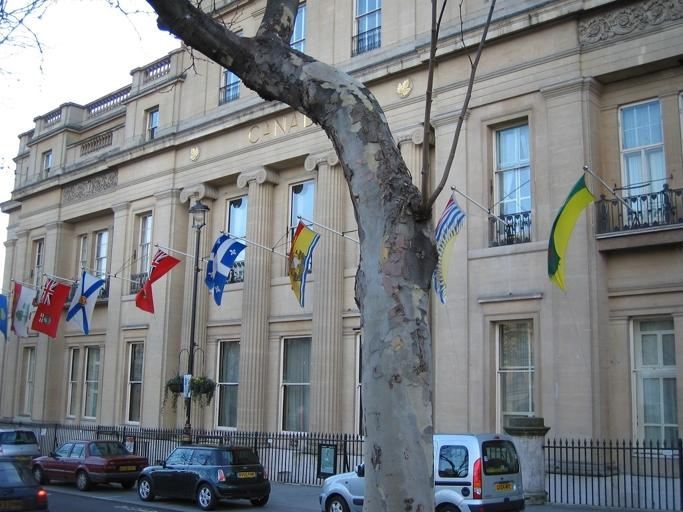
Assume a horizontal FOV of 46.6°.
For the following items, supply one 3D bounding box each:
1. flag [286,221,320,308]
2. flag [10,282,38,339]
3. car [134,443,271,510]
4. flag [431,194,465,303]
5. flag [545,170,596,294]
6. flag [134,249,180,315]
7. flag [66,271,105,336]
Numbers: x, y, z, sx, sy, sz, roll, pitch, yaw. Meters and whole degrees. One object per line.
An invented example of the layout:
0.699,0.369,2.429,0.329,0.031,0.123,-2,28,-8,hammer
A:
-1.293,0.412,27.770,0.533,3.319,2.662,4,-6,-17,flag
-14.719,2.573,36.806,0.270,2.553,2.420,0,-7,-41,flag
-3.924,6.386,22.933,3.668,1.875,1.156,-10,-18,26,car
3.173,-0.239,23.865,0.772,3.337,1.396,2,-16,-12,flag
6.245,-0.709,21.880,0.570,2.971,1.530,10,-19,-36,flag
-7.644,1.164,33.130,2.106,2.963,0.196,10,10,37,flag
-11.243,2.185,34.961,0.299,3.004,2.656,12,-3,-39,flag
